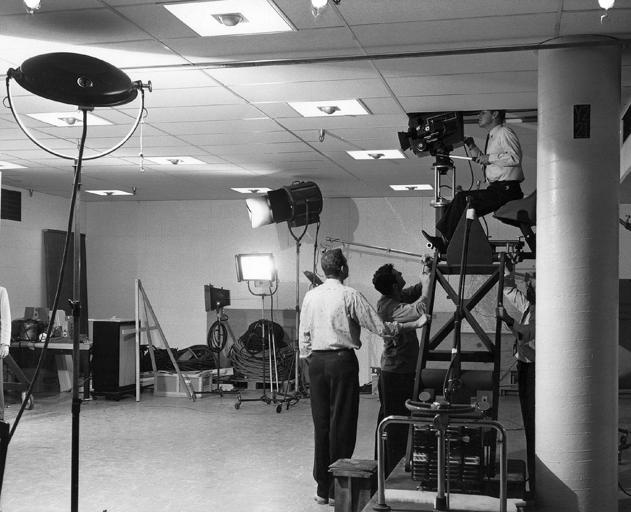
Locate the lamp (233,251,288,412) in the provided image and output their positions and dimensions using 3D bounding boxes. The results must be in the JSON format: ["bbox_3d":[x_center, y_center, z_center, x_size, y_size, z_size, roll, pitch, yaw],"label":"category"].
[{"bbox_3d":[-0.856,1.044,11.172,0.677,2.160,2.744,0,0,-5],"label":"lamp"}]

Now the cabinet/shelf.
[{"bbox_3d":[-2.918,1.471,10.646,0.524,1.090,0.576,0,0,6],"label":"cabinet/shelf"}]

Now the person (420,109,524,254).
[{"bbox_3d":[1.403,-0.672,6.635,0.861,1.384,0.670,0,-10,12],"label":"person"}]

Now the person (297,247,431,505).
[{"bbox_3d":[0.214,0.976,5.908,0.473,2.072,0.880,0,0,-44],"label":"person"}]
